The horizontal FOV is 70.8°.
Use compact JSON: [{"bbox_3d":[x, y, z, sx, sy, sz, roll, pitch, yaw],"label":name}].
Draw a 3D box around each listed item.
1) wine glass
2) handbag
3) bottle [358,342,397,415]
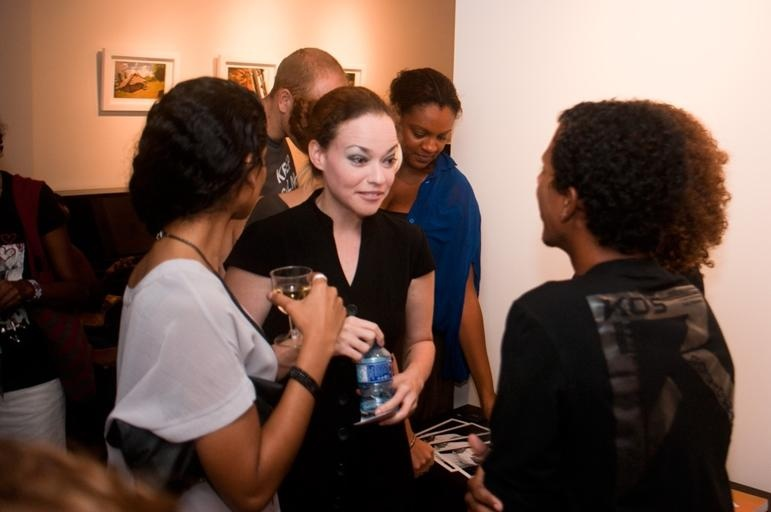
[{"bbox_3d":[-0.308,0.170,1.850,0.136,0.300,0.331,0,13,-7],"label":"wine glass"},{"bbox_3d":[-0.525,0.553,1.580,0.412,0.126,0.298,-16,18,-29],"label":"handbag"},{"bbox_3d":[-0.023,0.419,1.853,0.142,0.238,0.097,-2,13,-16],"label":"bottle"}]
